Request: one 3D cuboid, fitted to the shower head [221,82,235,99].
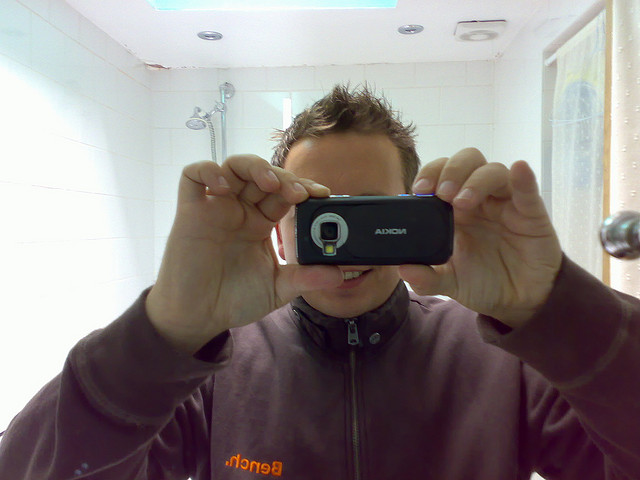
[{"bbox_3d":[-0.558,-0.904,3.487,0.078,0.094,0.023,-2,5,-22],"label":"shower head"}]
